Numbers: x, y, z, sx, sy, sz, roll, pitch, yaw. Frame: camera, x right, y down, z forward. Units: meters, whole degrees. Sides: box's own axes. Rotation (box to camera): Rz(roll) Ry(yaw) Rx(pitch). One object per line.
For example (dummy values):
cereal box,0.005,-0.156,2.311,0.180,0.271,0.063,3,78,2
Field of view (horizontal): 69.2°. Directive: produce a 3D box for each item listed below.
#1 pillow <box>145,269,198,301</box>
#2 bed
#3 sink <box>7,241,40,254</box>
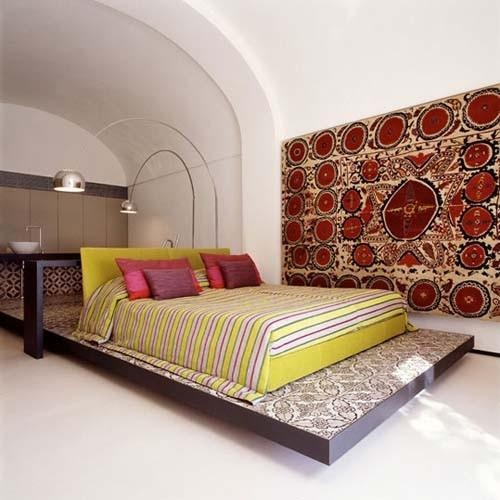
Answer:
pillow,-0.689,0.264,3.097,0.110,0.236,0.422,-38,-17,27
bed,-0.075,0.377,3.379,2.241,0.795,2.288,2,2,42
sink,-3.249,-0.046,5.261,0.372,0.155,1.458,-1,2,-30
